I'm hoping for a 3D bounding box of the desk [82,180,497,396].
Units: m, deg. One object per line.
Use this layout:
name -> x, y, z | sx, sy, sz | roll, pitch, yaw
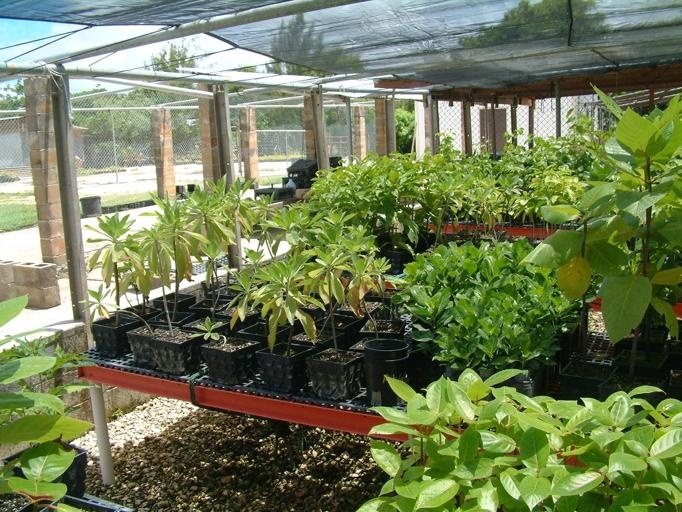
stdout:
desk -> -0.337, 0.209, 3.016 | 1.732, 0.650, 1.517 | 6, 14, 23
